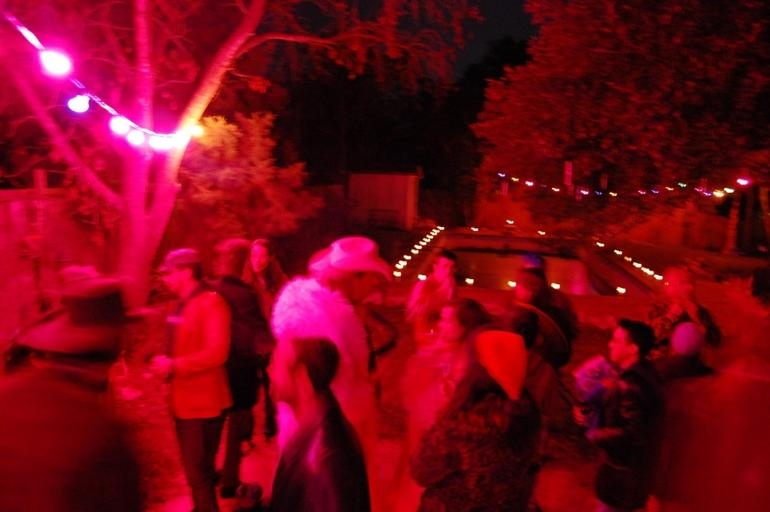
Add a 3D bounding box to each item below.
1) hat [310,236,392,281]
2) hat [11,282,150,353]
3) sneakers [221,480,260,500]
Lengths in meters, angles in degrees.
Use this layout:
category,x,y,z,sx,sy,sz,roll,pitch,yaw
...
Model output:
category,x,y,z,sx,sy,sz,roll,pitch,yaw
hat,-0.291,0.023,5.011,0.706,0.376,0.292,3,4,-17
hat,-3.418,0.720,6.398,1.026,0.423,1.005,2,7,6
sneakers,-1.436,2.328,5.731,0.285,0.091,0.198,-1,-3,5
